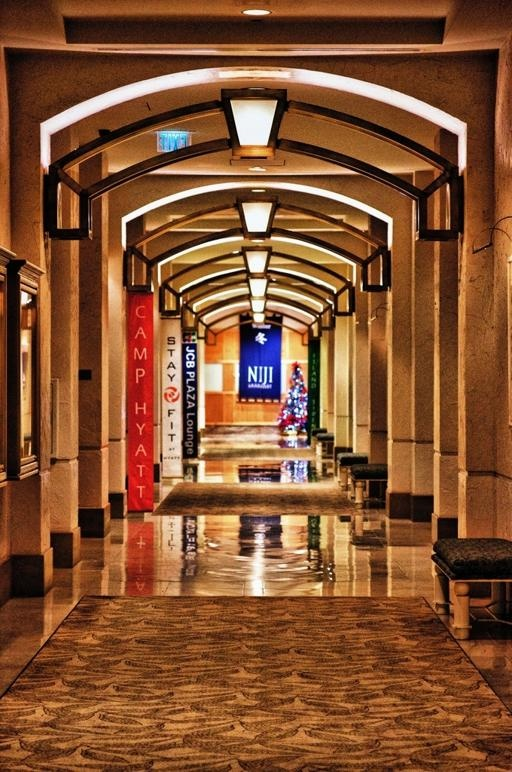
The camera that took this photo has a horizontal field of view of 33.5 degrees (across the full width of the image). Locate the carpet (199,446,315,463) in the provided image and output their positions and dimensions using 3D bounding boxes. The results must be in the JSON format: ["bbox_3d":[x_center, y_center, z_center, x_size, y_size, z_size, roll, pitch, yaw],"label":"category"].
[{"bbox_3d":[0.047,1.870,23.492,3.002,0.378,4.721,2,-4,0],"label":"carpet"}]

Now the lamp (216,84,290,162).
[{"bbox_3d":[-0.014,-1.979,6.382,0.544,0.550,0.481,-1,6,-1],"label":"lamp"}]

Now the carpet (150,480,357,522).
[{"bbox_3d":[0.028,1.801,13.716,2.918,0.327,3.963,2,-4,2],"label":"carpet"}]
